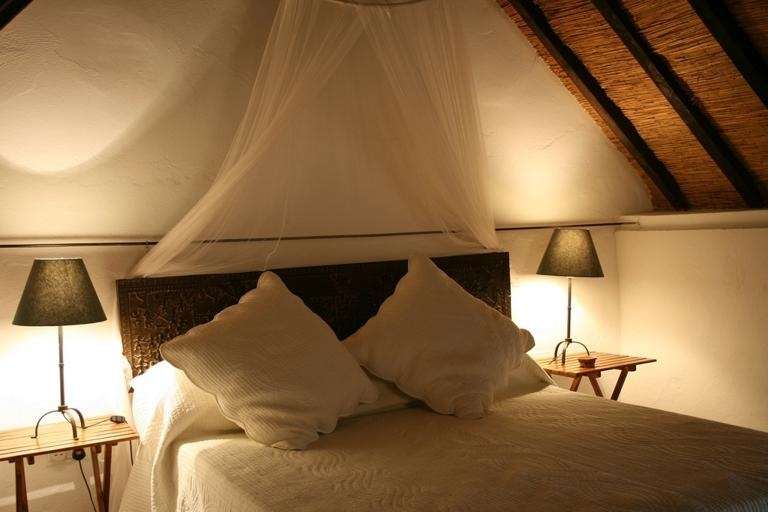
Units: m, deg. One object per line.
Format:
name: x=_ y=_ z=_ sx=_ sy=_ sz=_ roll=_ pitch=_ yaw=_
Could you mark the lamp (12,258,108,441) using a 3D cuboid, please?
lamp: x=-1.665 y=0.454 z=2.873 sx=0.431 sy=0.905 sz=0.326 roll=3 pitch=12 yaw=27
